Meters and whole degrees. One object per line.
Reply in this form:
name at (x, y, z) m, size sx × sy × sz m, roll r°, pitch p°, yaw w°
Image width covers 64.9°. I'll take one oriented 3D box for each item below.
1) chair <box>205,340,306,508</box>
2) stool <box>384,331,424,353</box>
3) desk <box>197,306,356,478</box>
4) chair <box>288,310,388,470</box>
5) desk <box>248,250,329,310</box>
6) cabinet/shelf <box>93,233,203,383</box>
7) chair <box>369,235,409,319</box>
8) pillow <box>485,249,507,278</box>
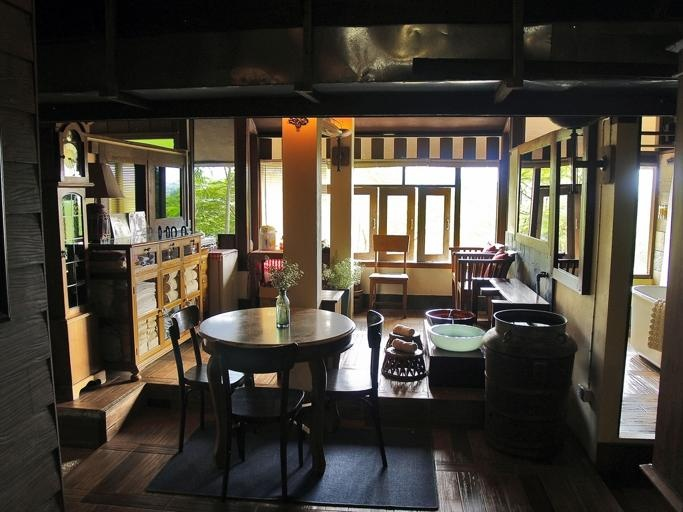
chair at (-0.640, 1.117, 4.160) m, size 0.687 × 1.201 × 0.866 m, roll -2°, pitch 13°, yaw -5°
stool at (0.657, 0.869, 5.687) m, size 0.248 × 0.191 × 0.254 m, roll 0°, pitch -1°, yaw 15°
desk at (-0.470, 1.025, 4.535) m, size 1.178 × 1.052 × 1.260 m, roll 0°, pitch 1°, yaw 8°
chair at (-0.144, 1.045, 4.860) m, size 0.992 × 1.559 × 0.937 m, roll 1°, pitch 1°, yaw -6°
desk at (-0.805, 0.332, 7.698) m, size 0.756 × 1.095 × 0.757 m, roll 0°, pitch 0°, yaw -5°
cabinet/shelf at (-2.019, 0.539, 5.454) m, size 0.489 × 1.029 × 1.415 m, roll 0°, pitch 5°, yaw 1°
chair at (0.746, 0.265, 8.339) m, size 0.600 × 1.210 × 1.009 m, roll 1°, pitch 13°, yaw 6°
pillow at (2.060, 0.086, 7.105) m, size 0.295 × 0.337 × 0.557 m, roll 3°, pitch 14°, yaw 15°
